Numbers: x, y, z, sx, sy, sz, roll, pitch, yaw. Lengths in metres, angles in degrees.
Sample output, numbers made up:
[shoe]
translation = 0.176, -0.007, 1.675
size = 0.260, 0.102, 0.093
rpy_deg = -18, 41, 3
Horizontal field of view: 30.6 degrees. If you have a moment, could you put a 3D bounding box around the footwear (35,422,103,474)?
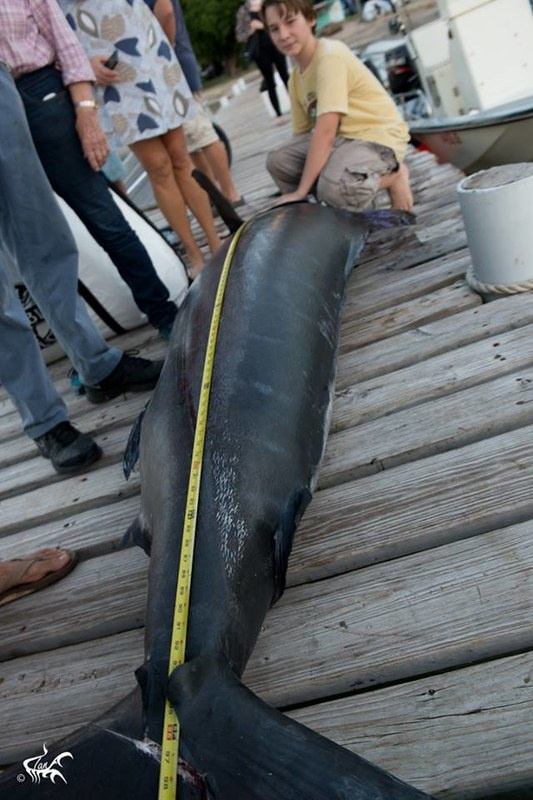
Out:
[footwear]
translation = -0.562, 0.115, 2.741
size = 0.135, 0.127, 0.305
rpy_deg = -21, 17, -26
